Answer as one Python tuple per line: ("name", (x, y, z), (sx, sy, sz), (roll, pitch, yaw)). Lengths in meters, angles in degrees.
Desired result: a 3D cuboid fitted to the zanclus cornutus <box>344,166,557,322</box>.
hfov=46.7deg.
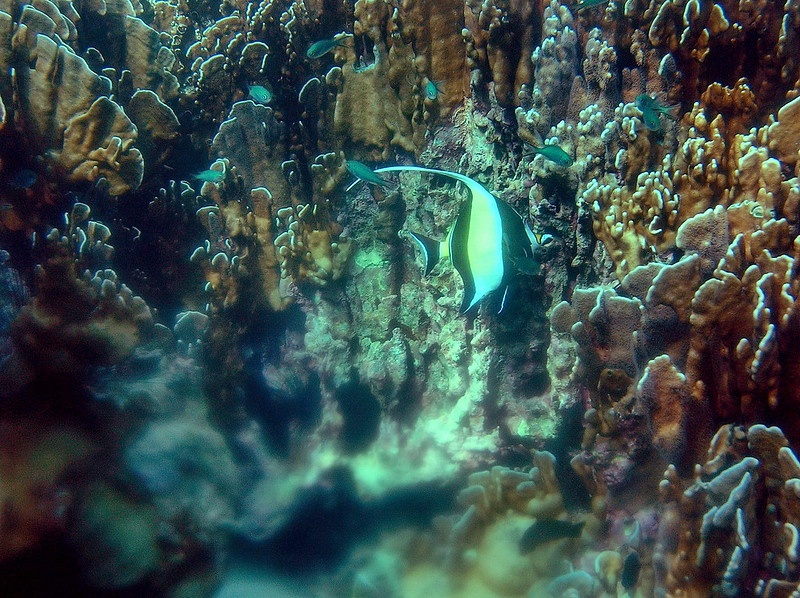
("zanclus cornutus", (0.606, -0.394, 6.641), (0.940, 1.005, 0.251), (5, 11, 5))
